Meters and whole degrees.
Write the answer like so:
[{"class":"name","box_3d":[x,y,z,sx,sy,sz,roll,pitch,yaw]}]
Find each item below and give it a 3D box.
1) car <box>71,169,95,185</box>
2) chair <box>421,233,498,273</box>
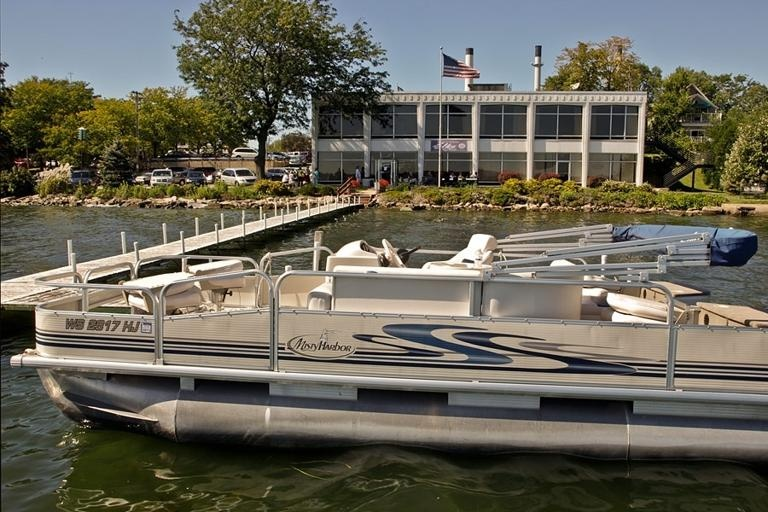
[{"class":"car","box_3d":[-23.680,-6.141,62.381,2.468,1.040,1.928,1,19,-11]},{"class":"chair","box_3d":[1.405,-0.004,14.032,1.076,0.493,0.687,-18,21,-27]}]
